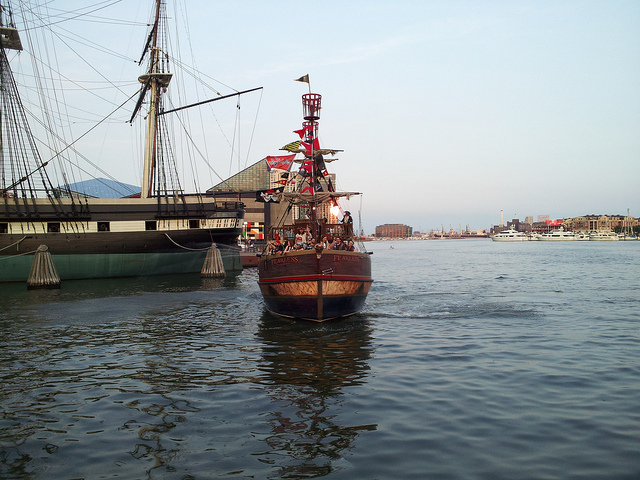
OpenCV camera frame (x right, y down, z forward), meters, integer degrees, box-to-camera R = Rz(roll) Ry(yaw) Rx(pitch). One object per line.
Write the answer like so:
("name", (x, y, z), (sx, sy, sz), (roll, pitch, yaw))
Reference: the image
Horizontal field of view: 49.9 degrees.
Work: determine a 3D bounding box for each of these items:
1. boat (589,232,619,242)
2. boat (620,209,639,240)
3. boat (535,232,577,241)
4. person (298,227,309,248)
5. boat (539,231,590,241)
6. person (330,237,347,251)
("boat", (96.027, -0.542, 231.406), (11.296, 2.361, 3.261), (2, 3, 36))
("boat", (119.057, -5.004, 264.358), (5.541, 8.292, 82.517), (1, 2, 24))
("boat", (81.998, -1.081, 229.427), (16.864, 2.557, 3.565), (1, -3, -2))
("person", (-0.772, -0.161, 31.718), (0.402, 0.935, 0.343), (-8, -43, -7))
("boat", (83.996, -1.157, 235.711), (24.682, 3.802, 4.517), (0, -1, 4))
("person", (0.880, 0.219, 31.646), (0.830, 0.382, 0.892), (1, 33, 7))
